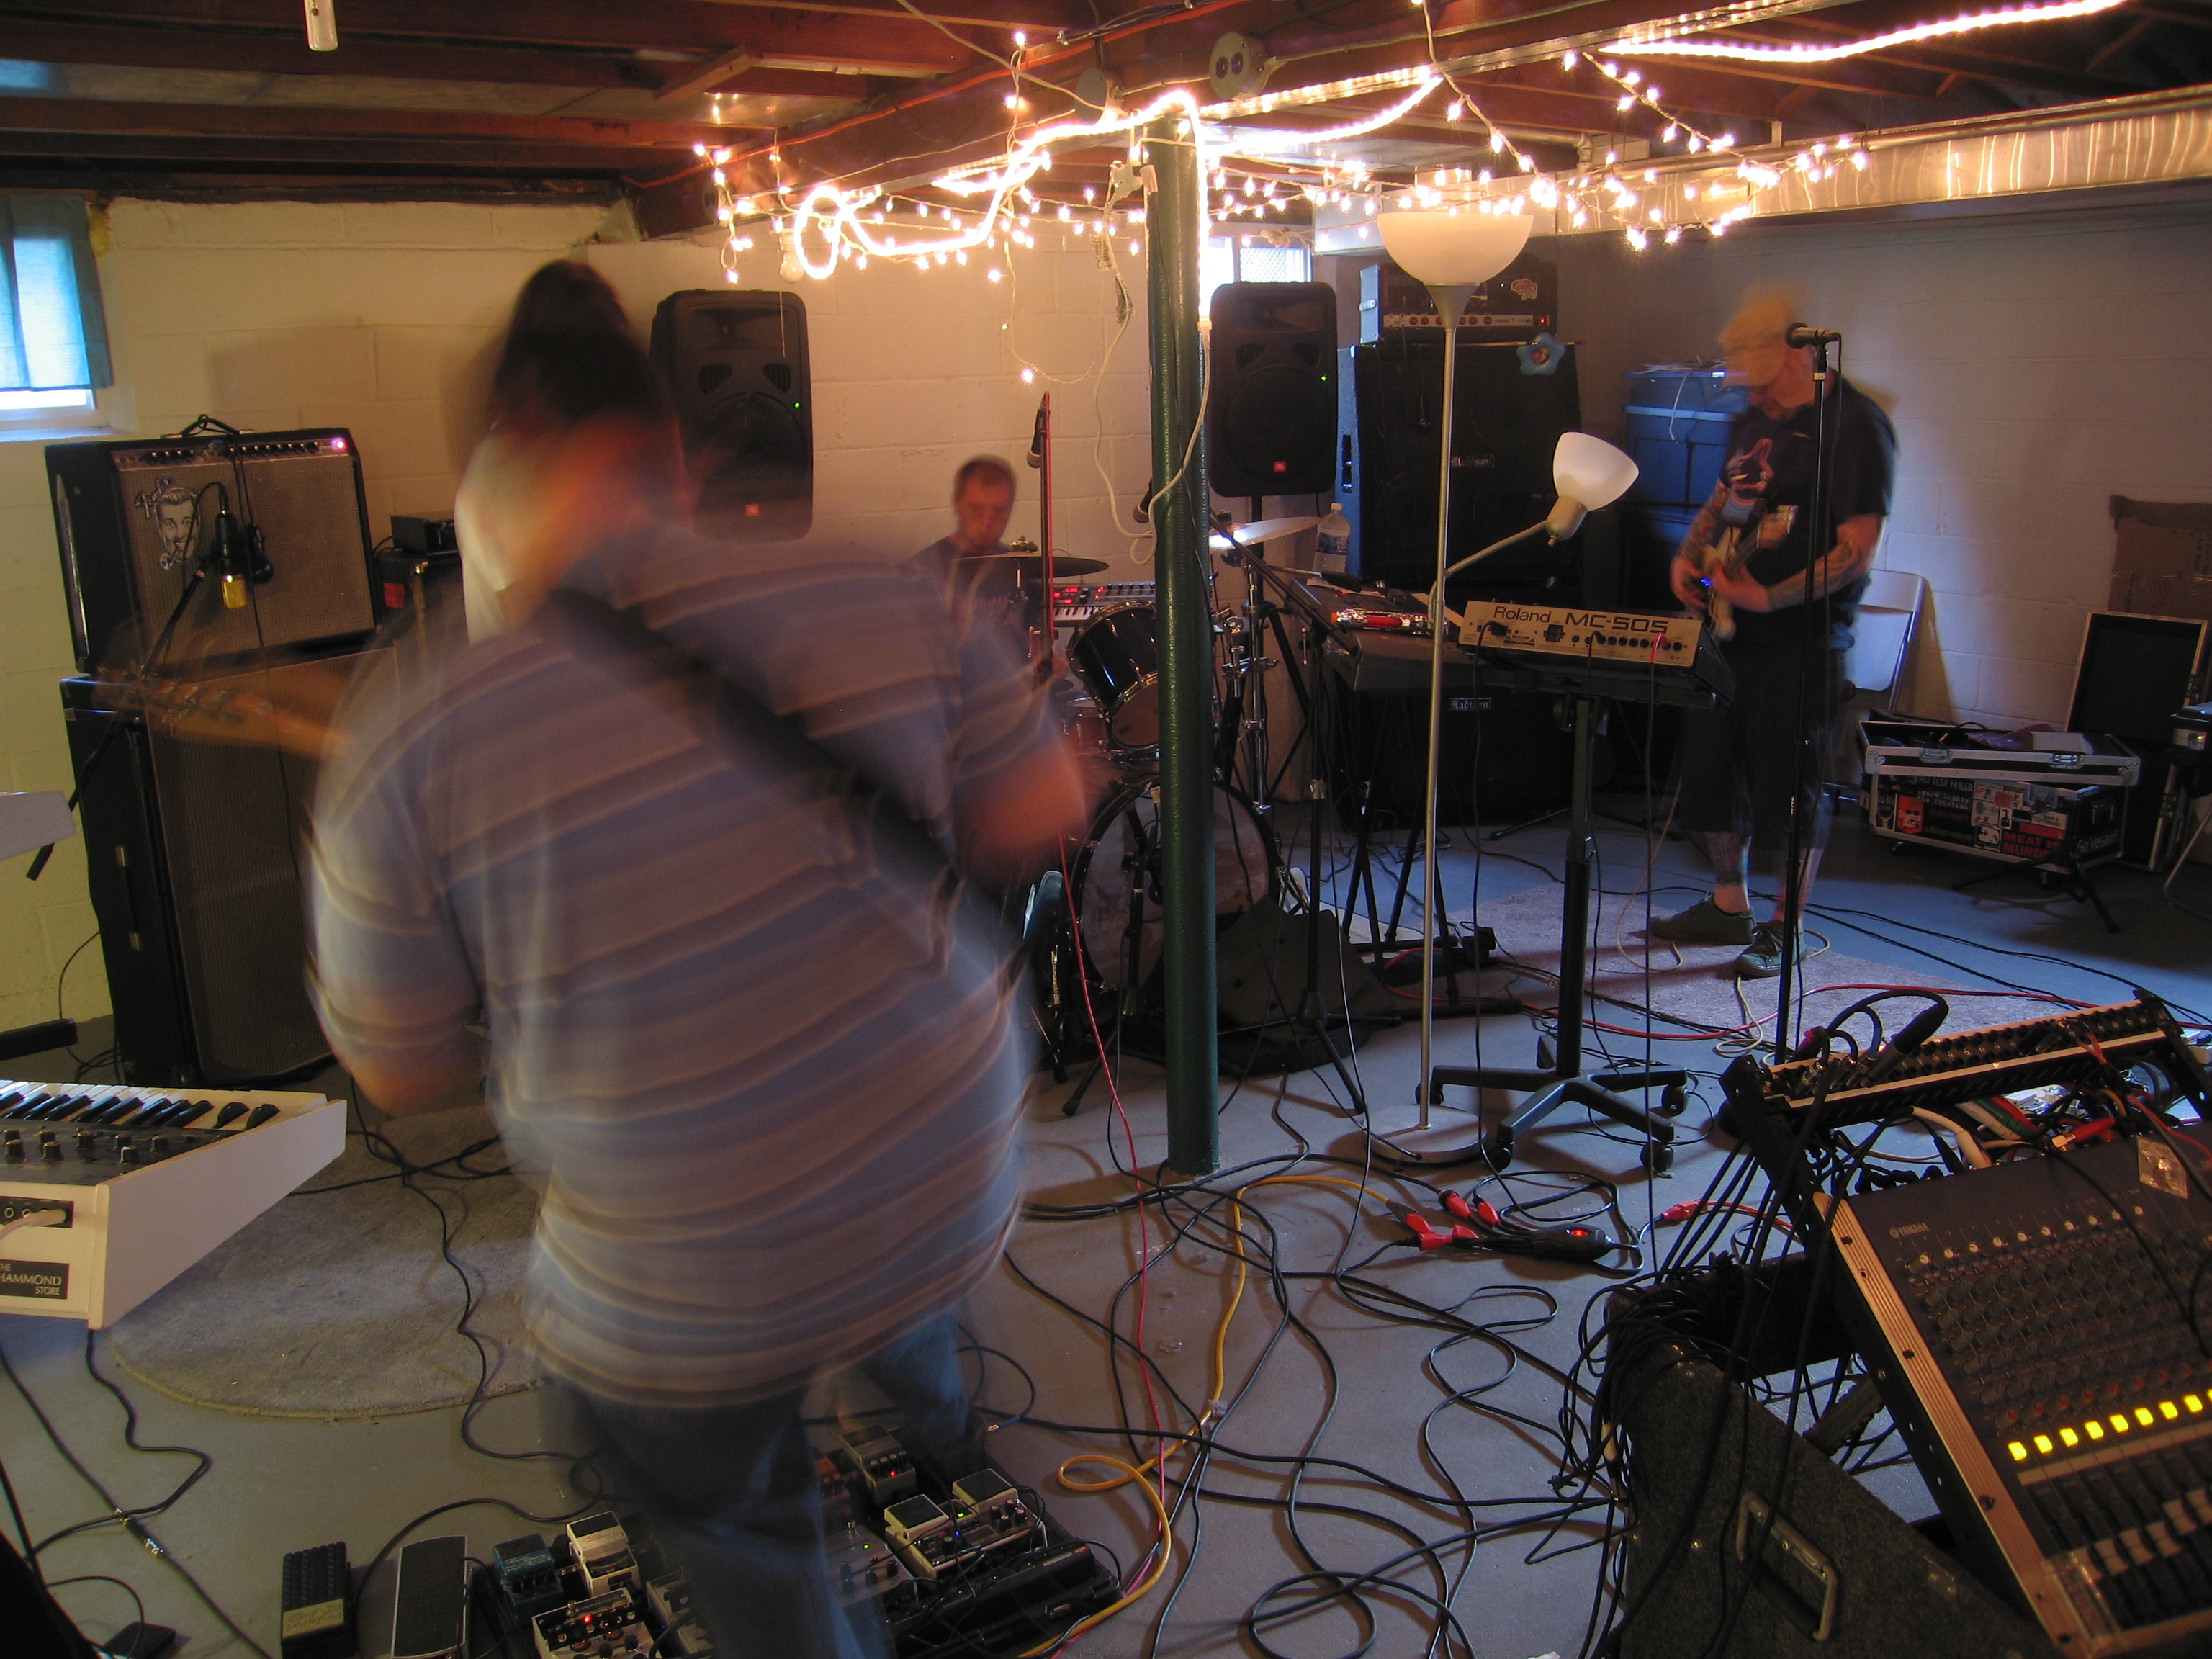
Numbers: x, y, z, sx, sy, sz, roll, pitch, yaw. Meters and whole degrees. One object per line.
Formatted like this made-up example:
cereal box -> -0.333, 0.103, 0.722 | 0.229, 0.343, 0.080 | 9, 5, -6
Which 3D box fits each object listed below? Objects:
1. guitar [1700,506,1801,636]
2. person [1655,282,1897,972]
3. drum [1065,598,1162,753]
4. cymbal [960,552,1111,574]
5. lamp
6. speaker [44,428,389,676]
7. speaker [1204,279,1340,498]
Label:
guitar -> 1.926, -0.766, 5.708 | 0.109, 0.492, 0.271 | 16, 2, -33
person -> 1.990, -0.570, 5.686 | 0.654, 2.003, 1.542 | -1, 14, 7
drum -> 0.024, -0.455, 5.380 | 0.315, 0.344, 0.347 | -21, -15, -5
cymbal -> -0.216, -0.878, 6.238 | 0.282, 0.063, 0.287 | -3, 11, -16
lamp -> 0.806, -0.391, 4.429 | 0.572, 2.059, 0.591 | 0, -2, 3
speaker -> -2.479, -0.770, 5.277 | 0.305, 0.785, 0.797 | 14, 21, 38
speaker -> 0.537, -1.440, 6.233 | 0.497, 0.678, 0.220 | -7, 14, -16
